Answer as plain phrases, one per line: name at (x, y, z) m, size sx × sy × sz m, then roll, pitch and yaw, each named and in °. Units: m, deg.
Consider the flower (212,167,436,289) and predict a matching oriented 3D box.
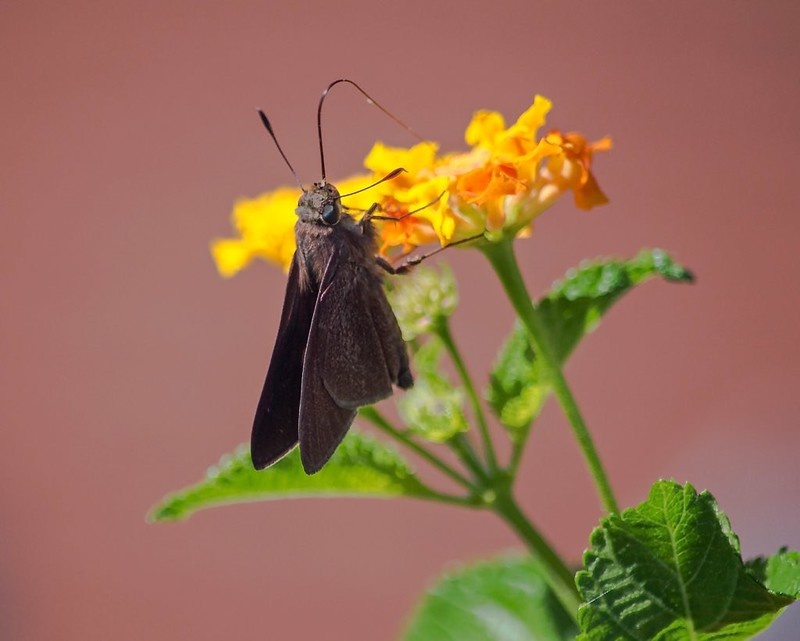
flower at (-0.032, -0.085, 0.824) m, size 0.124 × 0.152 × 0.070 m, roll -19°, pitch -68°, yaw -39°
